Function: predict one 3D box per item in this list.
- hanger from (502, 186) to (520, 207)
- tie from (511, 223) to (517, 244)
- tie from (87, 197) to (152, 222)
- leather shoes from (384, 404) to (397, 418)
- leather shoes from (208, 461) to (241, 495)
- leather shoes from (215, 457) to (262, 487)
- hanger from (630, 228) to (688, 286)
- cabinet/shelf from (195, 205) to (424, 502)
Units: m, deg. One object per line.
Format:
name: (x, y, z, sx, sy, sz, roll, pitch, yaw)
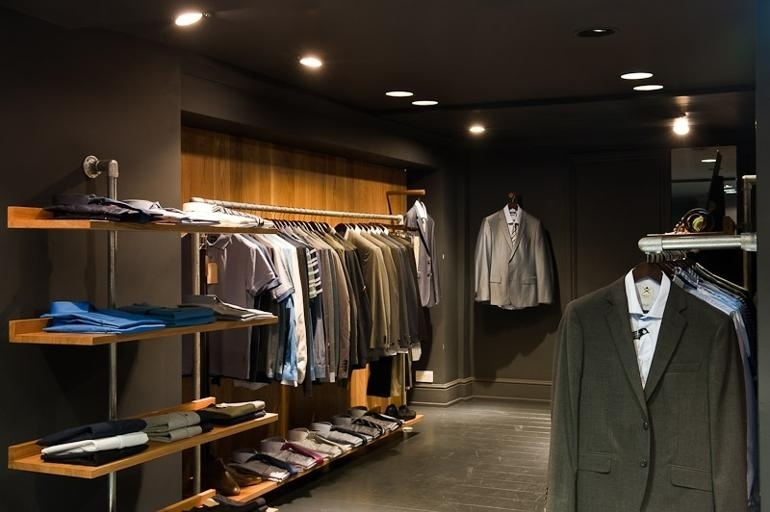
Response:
hanger: (1.484, -0.665, 7.166, 0.190, 0.227, 0.350, 0, 2, 11)
tie: (1.435, -0.253, 6.914, 0.074, 0.225, 0.150, 0, 2, 11)
tie: (-1.307, -0.232, 3.075, 0.333, 0.135, 0.206, -1, 2, -12)
leather shoes: (0.066, 1.498, 6.064, 0.092, 0.118, 0.118, -6, -12, 24)
leather shoes: (-1.121, 1.483, 4.210, 0.315, 0.234, 0.114, -3, -2, 43)
leather shoes: (-1.070, 1.480, 4.290, 0.407, 0.176, 0.140, -1, -4, 14)
hanger: (1.198, 0.016, 2.779, 0.265, 0.346, 0.107, -2, -16, 21)
cabinet/shelf: (-0.582, 0.753, 4.711, 0.912, 1.537, 2.178, -4, -5, 34)
